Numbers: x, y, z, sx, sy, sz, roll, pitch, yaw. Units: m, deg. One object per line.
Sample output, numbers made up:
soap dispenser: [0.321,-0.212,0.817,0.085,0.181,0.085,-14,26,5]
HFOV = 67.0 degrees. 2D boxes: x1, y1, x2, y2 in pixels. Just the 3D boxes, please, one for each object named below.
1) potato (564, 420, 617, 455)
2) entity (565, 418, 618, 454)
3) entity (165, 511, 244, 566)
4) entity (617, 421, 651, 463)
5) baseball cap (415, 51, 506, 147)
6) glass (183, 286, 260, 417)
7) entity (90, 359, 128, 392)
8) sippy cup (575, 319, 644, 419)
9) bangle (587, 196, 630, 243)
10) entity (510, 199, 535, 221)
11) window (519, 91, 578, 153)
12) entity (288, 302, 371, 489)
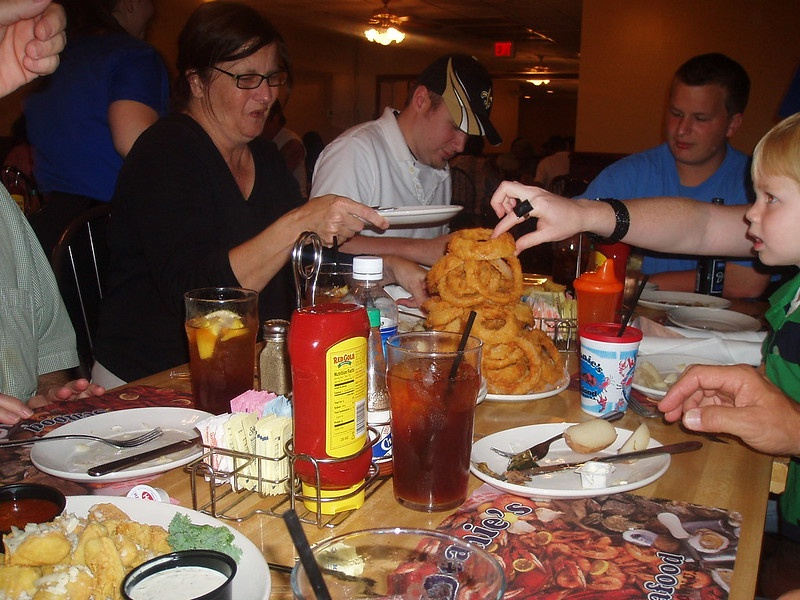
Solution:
potato: [0.419,0.306,1.340,0.103,0.060,0.035,-21,21,-5]
entity: [0.422,0.307,1.339,0.104,0.060,0.036,-21,19,-6]
entity: [-0.325,0.388,0.984,0.084,0.026,0.066,25,43,-16]
entity: [0.517,0.313,1.325,0.030,0.079,0.062,18,4,-35]
baseball cap: [0.382,-1.082,3.296,0.570,0.291,0.363,41,31,21]
glass: [-0.440,0.134,1.532,0.190,0.275,0.180,-6,-5,-12]
entity: [-1.032,0.273,2.170,0.116,0.107,0.109,1,5,3]
sippy cup: [0.557,0.196,1.633,0.182,0.216,0.171,0,7,0]
bangle: [0.749,-0.277,2.146,0.123,0.154,0.085,5,16,18]
entity: [0.386,-0.284,1.926,0.091,0.060,0.025,-12,-3,41]
window: [6.761,-8.286,28.573,2.564,3.451,2.495,-4,48,5]
entity: [-0.127,0.185,1.113,0.140,0.338,0.114,-1,15,-2]
